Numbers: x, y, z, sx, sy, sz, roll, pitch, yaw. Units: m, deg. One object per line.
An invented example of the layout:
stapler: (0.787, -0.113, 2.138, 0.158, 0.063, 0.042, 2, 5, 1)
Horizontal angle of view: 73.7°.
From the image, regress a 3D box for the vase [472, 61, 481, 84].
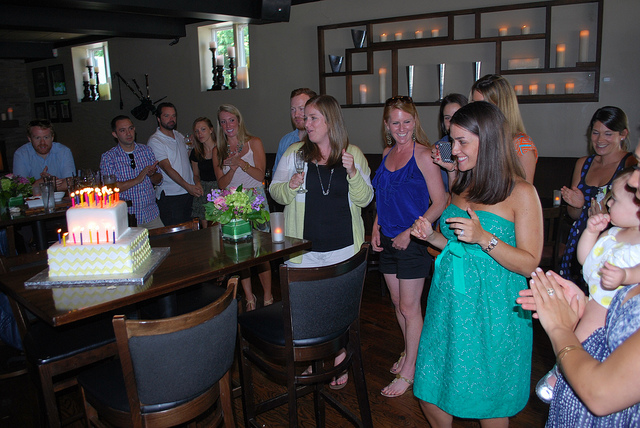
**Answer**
vase: (1.894, -1.741, 5.148, 0.097, 0.226, 0.219, 2, 17, 19)

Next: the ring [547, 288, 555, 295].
ring: (0.859, 0.288, 1.587, 0.025, 0.019, 0.016, -6, 16, -6)

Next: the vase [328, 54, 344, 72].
vase: (0.207, -2.090, 6.016, 0.264, 0.268, 0.196, -1, 10, -18)

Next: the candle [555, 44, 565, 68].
candle: (2.683, -1.776, 4.759, 0.095, 0.247, 0.059, 7, 19, 34)

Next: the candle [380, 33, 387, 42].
candle: (0.839, -2.347, 5.638, 0.087, 0.087, 0.088, -5, 17, -8)

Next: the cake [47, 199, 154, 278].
cake: (-1.267, 0.118, 2.483, 0.438, 0.328, 0.452, -1, 13, -7)

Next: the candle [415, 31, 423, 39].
candle: (1.263, -2.300, 5.440, 0.090, 0.070, 0.092, 4, 11, 32)

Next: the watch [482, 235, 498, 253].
watch: (0.840, 0.139, 2.126, 0.024, 0.066, 0.065, 33, -18, -2)

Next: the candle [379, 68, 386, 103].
candle: (0.852, -1.759, 5.788, 0.094, 0.451, 0.146, -1, 16, 8)

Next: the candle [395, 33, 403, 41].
candle: (1.025, -2.325, 5.552, 0.085, 0.086, 0.088, -13, 34, -19)

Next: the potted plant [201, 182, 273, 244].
potted plant: (-0.541, 0.013, 2.856, 0.420, 0.320, 0.451, 4, 5, 15)

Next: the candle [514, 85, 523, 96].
candle: (2.329, -1.461, 4.999, 0.095, 0.123, 0.148, 4, 18, 26)

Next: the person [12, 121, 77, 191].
person: (-3.057, -0.604, 4.712, 0.578, 0.832, 0.571, 1, 26, -25)

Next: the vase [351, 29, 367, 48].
vase: (0.508, -2.368, 5.766, 0.215, 0.240, 0.233, 2, 17, -2)

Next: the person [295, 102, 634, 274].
person: (0.985, -0.172, 2.896, 1.823, 0.749, 0.572, 5, -2, 24)

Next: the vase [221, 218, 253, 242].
vase: (-0.554, 0.117, 2.840, 0.158, 0.154, 0.157, 1, -6, -38)

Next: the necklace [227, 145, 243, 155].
necklace: (-0.818, -0.624, 4.113, 0.127, 0.133, 0.043, -2, 16, 4)

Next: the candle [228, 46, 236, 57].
candle: (-1.403, -2.644, 6.917, 0.141, 0.163, 0.141, -11, 19, -40)

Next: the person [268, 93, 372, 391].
person: (0.057, 0.154, 3.257, 0.745, 1.960, 0.668, 3, 21, 24)

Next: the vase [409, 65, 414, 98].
vase: (1.186, -1.738, 5.539, 0.037, 0.367, 0.110, 5, 18, 27)

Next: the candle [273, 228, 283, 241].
candle: (-0.274, 0.138, 2.775, 0.063, 0.072, 0.070, 1, -2, -43)

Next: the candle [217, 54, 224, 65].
candle: (-1.652, -2.564, 7.048, 0.156, 0.181, 0.156, -10, 19, -37)

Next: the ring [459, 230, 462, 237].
ring: (0.686, 0.093, 2.078, 0.009, 0.030, 0.022, 7, -4, 7)

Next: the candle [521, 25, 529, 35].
candle: (2.330, -2.098, 4.850, 0.083, 0.099, 0.085, -2, 7, -7)

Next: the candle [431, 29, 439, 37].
candle: (1.437, -2.268, 5.325, 0.084, 0.064, 0.086, 10, 18, 36)

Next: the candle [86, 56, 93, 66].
candle: (-4.728, -3.146, 8.739, 0.113, 0.194, 0.428, -11, 18, -24)

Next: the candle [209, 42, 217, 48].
candle: (-1.778, -2.826, 7.069, 0.083, 0.084, 0.083, -8, 27, -26)

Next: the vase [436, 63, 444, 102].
vase: (1.520, -1.668, 5.395, 0.089, 0.456, 0.201, 3, 17, 21)

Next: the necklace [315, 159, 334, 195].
necklace: (0.027, -0.270, 3.076, 0.144, 0.233, 0.112, 1, 17, 15)

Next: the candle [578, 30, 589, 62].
candle: (2.897, -1.849, 4.663, 0.184, 0.337, 0.091, -15, 20, -34)

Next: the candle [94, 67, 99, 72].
candle: (-4.621, -3.005, 8.821, 0.086, 0.094, 0.098, -11, 18, -25)

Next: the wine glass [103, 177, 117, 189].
wine glass: (-1.959, -0.291, 3.961, 0.099, 0.075, 0.100, -4, 10, -23)

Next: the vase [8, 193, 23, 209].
vase: (-3.019, -0.129, 4.251, 0.087, 0.112, 0.162, -7, 9, 25)

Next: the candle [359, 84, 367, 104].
candle: (0.610, -1.689, 5.963, 0.102, 0.264, 0.119, -2, 16, 6)

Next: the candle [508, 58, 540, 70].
candle: (2.362, -1.747, 4.938, 0.332, 0.124, 0.073, 4, 18, 25)

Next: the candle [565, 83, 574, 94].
candle: (2.800, -1.420, 4.795, 0.100, 0.118, 0.102, -2, 18, 5)

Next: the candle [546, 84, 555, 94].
candle: (2.641, -1.439, 4.877, 0.087, 0.108, 0.084, 3, 18, 23)

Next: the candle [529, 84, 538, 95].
candle: (2.500, -1.452, 4.941, 0.114, 0.111, 0.081, -7, 16, -11)

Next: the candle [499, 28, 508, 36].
candle: (2.169, -2.145, 4.992, 0.131, 0.090, 0.082, -9, 17, -17)
